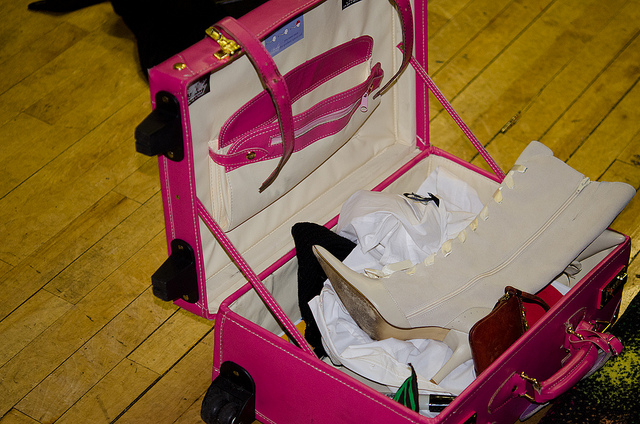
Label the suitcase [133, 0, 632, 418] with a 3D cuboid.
[{"bbox_3d":[0.145,0.030,1.782,0.826,0.828,0.739,-32,44,-31],"label":"suitcase"}]

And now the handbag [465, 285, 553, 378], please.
[{"bbox_3d":[0.445,0.279,1.608,0.230,0.081,0.173,-43,101,-19],"label":"handbag"}]

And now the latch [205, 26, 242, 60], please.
[{"bbox_3d":[-0.210,-0.365,1.440,0.090,0.027,0.056,40,94,5],"label":"latch"}]

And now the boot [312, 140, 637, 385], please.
[{"bbox_3d":[0.456,0.115,1.691,0.840,0.358,0.463,-46,39,-19],"label":"boot"}]
